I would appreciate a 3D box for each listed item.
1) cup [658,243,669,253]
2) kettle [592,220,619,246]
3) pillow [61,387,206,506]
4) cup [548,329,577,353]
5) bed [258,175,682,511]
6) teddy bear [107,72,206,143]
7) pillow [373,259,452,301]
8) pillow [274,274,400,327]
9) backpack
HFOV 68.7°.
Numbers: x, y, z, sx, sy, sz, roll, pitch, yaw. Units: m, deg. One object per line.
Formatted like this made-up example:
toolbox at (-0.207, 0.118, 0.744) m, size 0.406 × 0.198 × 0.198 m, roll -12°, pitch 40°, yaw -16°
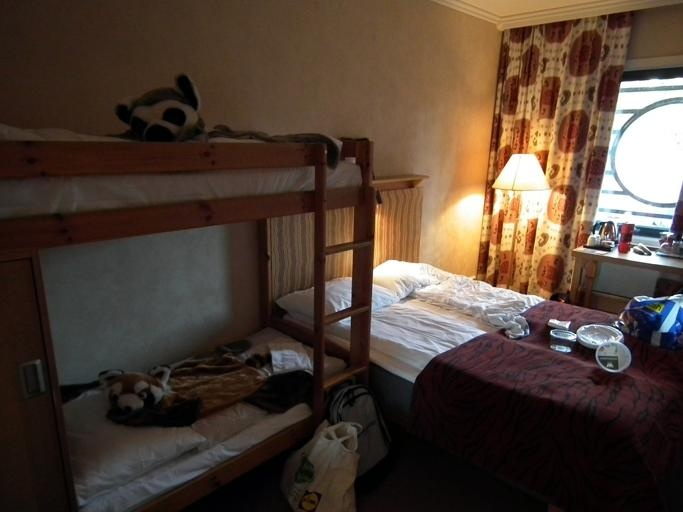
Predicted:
cup at (2.767, -0.069, 4.314) m, size 0.069 × 0.055 × 0.070 m, roll -2°, pitch 9°, yaw 0°
kettle at (2.425, -0.224, 4.608) m, size 0.146 × 0.249 × 0.231 m, roll -12°, pitch 14°, yaw -38°
pillow at (-1.040, 0.926, 2.447) m, size 0.460 × 0.117 × 0.447 m, roll -14°, pitch 23°, yaw -42°
cup at (1.397, 0.540, 3.179) m, size 0.134 × 0.097 × 0.139 m, roll -1°, pitch 10°, yaw 0°
bed at (0.616, 0.195, 3.558) m, size 2.440 × 1.615 × 2.170 m, roll 17°, pitch 25°, yaw 39°
teddy bear at (-0.868, -0.672, 2.462) m, size 0.443 × 0.287 × 0.429 m, roll -22°, pitch 11°, yaw -33°
pillow at (0.524, 0.160, 4.006) m, size 0.348 × 0.109 × 0.444 m, roll 16°, pitch 19°, yaw 36°
pillow at (-0.004, 0.332, 3.746) m, size 0.565 × 0.265 × 0.931 m, roll 0°, pitch 4°, yaw 32°
backpack at (0.087, 1.043, 3.067) m, size 0.350 × 0.498 × 0.145 m, roll -9°, pitch -10°, yaw -34°
